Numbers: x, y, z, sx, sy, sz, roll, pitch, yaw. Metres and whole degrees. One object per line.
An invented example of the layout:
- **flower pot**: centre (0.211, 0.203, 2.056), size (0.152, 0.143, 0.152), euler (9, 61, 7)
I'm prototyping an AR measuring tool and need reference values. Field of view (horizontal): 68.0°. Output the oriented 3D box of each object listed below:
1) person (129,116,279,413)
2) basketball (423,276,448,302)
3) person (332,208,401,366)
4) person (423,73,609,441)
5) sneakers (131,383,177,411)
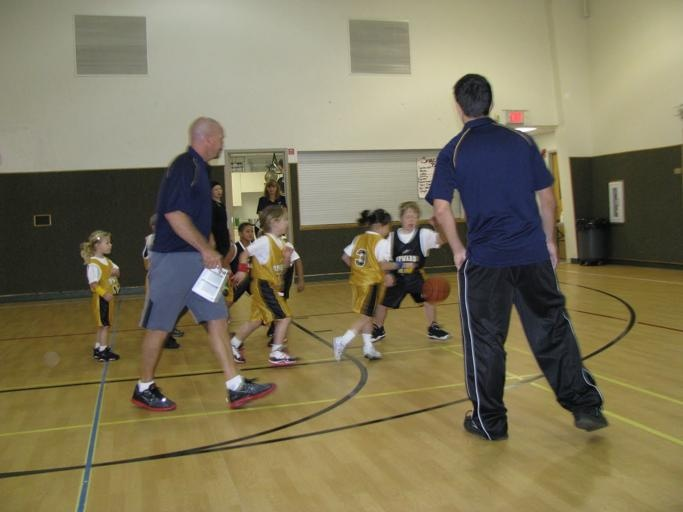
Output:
- **person**: centre (-0.941, 0.052, 3.182), size (0.820, 1.837, 0.440), euler (-4, 7, -20)
- **basketball**: centre (0.841, 0.281, 4.316), size (0.194, 0.241, 0.188), euler (2, -4, -30)
- **person**: centre (0.205, 0.221, 4.286), size (0.558, 1.226, 0.659), euler (-2, 6, 0)
- **person**: centre (0.878, 0.131, 2.609), size (0.828, 1.602, 0.253), euler (-2, 6, 1)
- **sneakers**: centre (-1.190, 0.901, 3.277), size (0.285, 0.153, 0.137), euler (11, 1, 9)
